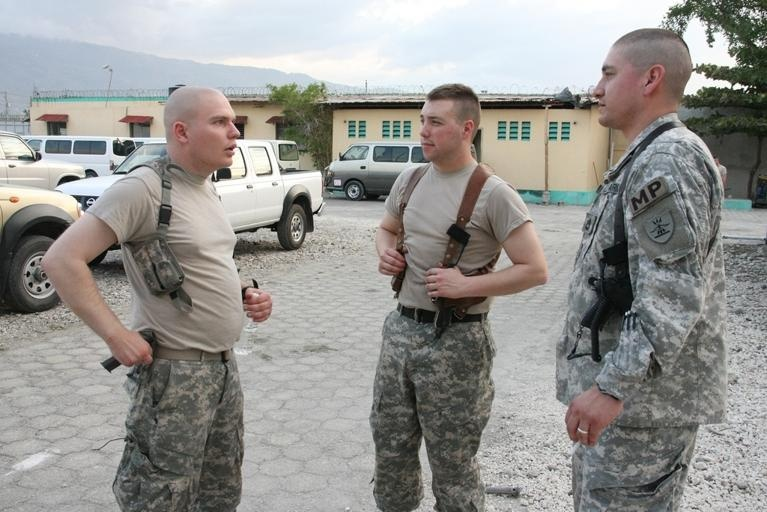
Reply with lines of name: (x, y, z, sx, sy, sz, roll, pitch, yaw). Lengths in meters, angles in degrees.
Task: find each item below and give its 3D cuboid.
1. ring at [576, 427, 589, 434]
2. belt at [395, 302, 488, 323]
ring: (0.759, 0.661, 2.270, 0.028, 0.028, 0.034, 2, -5, -16)
belt: (0.281, 0.298, 3.059, 0.464, 0.074, 0.159, 2, 12, 12)
